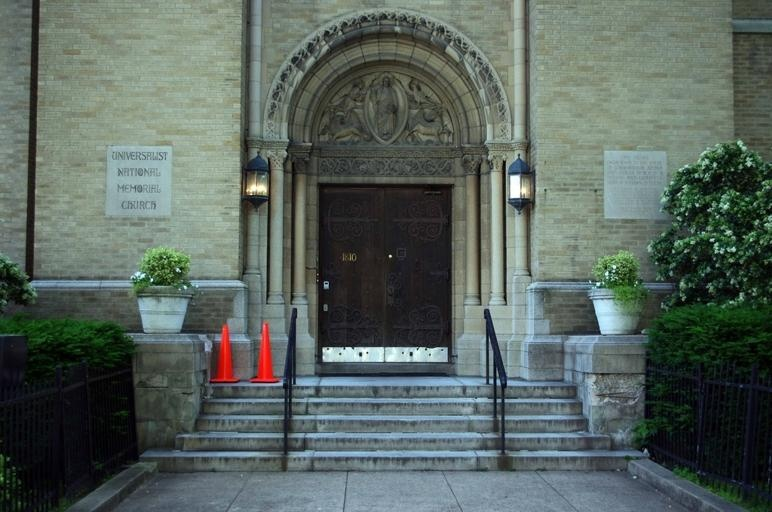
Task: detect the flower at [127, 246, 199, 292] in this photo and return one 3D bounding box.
[{"bbox_3d":[-4.101,0.260,17.821,0.821,1.017,1.005,0,0,-15],"label":"flower"}]

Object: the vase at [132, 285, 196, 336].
[{"bbox_3d":[-4.029,0.984,17.773,1.157,0.850,1.150,2,-5,-18],"label":"vase"}]

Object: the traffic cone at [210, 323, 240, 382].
[{"bbox_3d":[-2.990,1.781,18.190,0.519,0.932,0.890,-2,1,-9],"label":"traffic cone"}]

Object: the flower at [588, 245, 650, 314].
[{"bbox_3d":[4.252,0.473,18.010,1.171,1.371,0.990,2,-11,-9],"label":"flower"}]

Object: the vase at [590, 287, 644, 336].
[{"bbox_3d":[4.181,1.021,17.833,0.847,0.643,0.861,-2,-4,33],"label":"vase"}]

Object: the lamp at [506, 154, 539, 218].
[{"bbox_3d":[2.643,-1.378,19.150,0.532,0.777,0.409,-2,1,3],"label":"lamp"}]

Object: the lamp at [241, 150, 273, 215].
[{"bbox_3d":[-2.535,-1.485,19.260,0.559,0.955,0.472,-2,1,-4],"label":"lamp"}]
